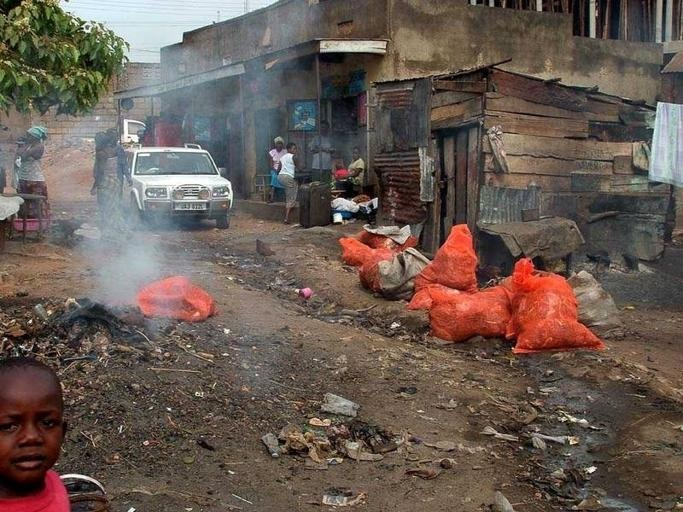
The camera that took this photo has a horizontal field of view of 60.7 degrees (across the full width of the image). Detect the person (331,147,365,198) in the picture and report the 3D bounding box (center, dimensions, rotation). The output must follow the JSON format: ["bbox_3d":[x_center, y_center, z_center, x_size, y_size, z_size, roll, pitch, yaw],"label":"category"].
[{"bbox_3d":[0.200,-1.856,14.142,0.823,1.384,0.736,0,4,-15],"label":"person"}]

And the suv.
[{"bbox_3d":[-3.500,-1.525,12.544,1.518,1.139,2.533,-2,6,-23],"label":"suv"}]

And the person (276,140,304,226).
[{"bbox_3d":[-1.294,-1.682,13.887,0.459,1.942,0.743,0,3,-6],"label":"person"}]

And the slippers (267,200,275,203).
[{"bbox_3d":[-1.891,-1.400,15.411,0.142,0.048,0.095,13,-13,6],"label":"slippers"}]

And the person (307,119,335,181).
[{"bbox_3d":[-0.504,-2.617,14.474,0.608,1.561,1.591,0,3,-3],"label":"person"}]
